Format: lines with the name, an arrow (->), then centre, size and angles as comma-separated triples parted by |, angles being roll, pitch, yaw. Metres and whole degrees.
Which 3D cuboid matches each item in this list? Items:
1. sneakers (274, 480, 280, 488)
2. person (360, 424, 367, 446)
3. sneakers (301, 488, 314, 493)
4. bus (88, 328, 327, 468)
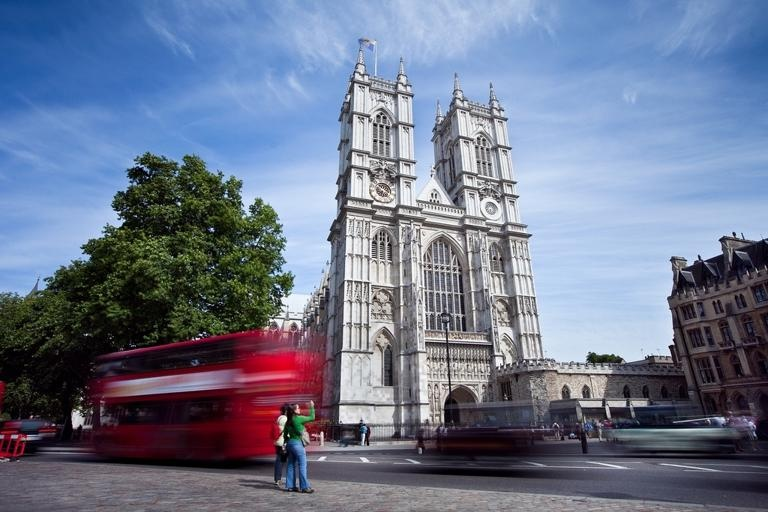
sneakers -> -3.081, 6.615, 12.116 | 0.171, 0.113, 0.371 | 2, -17, -15
person -> -1.522, 13.558, 31.639 | 0.549, 1.451, 1.486 | -2, -18, -3
sneakers -> -2.031, 6.358, 11.263 | 0.341, 0.136, 0.113 | 0, -28, 0
bus -> -7.827, 5.845, 17.177 | 10.006, 4.214, 2.809 | -8, -27, 15
